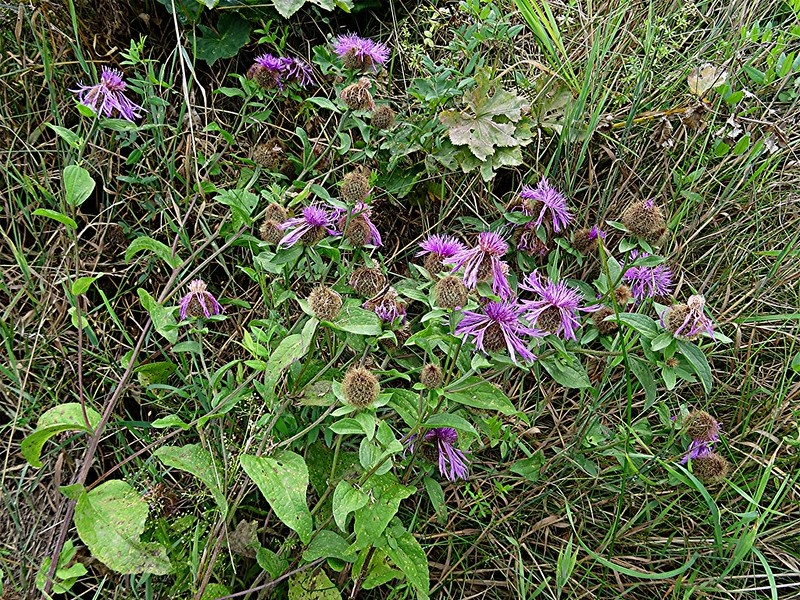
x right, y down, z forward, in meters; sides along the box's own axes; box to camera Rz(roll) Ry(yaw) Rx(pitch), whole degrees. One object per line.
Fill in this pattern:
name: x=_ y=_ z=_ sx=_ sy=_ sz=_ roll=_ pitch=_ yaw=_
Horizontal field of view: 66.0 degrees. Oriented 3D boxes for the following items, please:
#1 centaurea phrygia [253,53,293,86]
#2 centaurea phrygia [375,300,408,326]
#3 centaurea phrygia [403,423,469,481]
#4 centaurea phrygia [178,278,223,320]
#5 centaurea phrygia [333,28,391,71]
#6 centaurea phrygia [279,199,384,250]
centaurea phrygia: x=-0.793 y=-1.420 z=3.862 sx=0.238 sy=0.209 sz=0.216 roll=1 pitch=62 yaw=-16
centaurea phrygia: x=-0.042 y=0.062 z=3.120 sx=0.126 sy=0.092 sz=0.127 roll=-6 pitch=39 yaw=-40
centaurea phrygia: x=0.204 y=0.749 z=3.266 sx=0.214 sy=0.115 sz=0.255 roll=19 pitch=13 yaw=-22
centaurea phrygia: x=-1.017 y=0.021 z=3.216 sx=0.196 sy=0.190 sz=0.200 roll=12 pitch=26 yaw=22
centaurea phrygia: x=-0.250 y=-1.506 z=3.827 sx=0.288 sy=0.175 sz=0.300 roll=23 pitch=23 yaw=-12
centaurea phrygia: x=-0.368 y=-0.399 z=3.212 sx=0.312 sy=0.150 sz=0.337 roll=-3 pitch=36 yaw=-10
